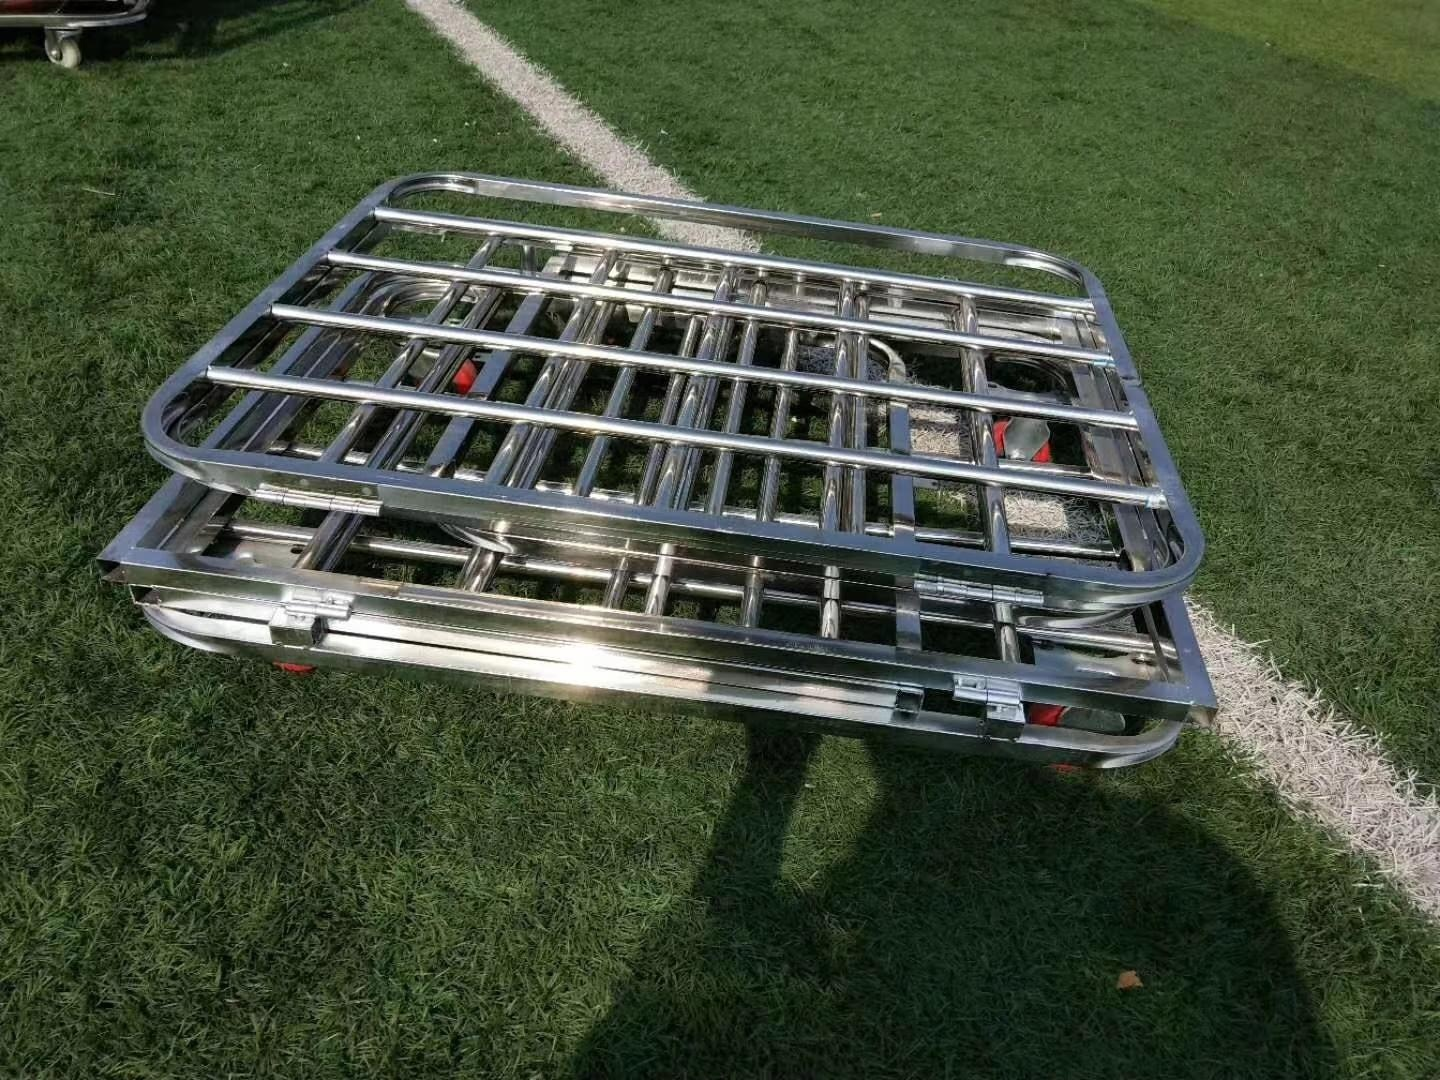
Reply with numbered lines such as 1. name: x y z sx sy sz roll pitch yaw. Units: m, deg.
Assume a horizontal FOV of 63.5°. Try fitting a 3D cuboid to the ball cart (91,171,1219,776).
1. ball cart: -0.010 -0.234 3.057 2.523 0.777 1.506 10 46 3
